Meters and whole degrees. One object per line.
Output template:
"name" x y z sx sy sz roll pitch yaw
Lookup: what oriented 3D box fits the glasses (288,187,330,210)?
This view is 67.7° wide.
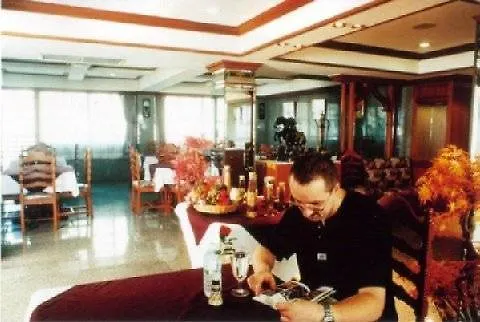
"glasses" 0.576 0.301 2.871 0.226 0.226 0.072 6 45 16

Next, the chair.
"chair" -0.174 0.670 2.788 2.695 1.049 0.633 1 11 -1
